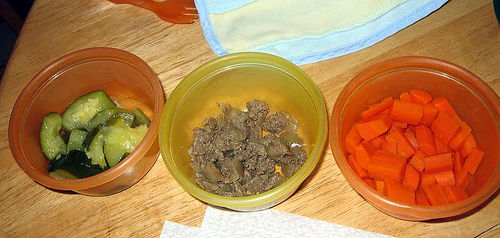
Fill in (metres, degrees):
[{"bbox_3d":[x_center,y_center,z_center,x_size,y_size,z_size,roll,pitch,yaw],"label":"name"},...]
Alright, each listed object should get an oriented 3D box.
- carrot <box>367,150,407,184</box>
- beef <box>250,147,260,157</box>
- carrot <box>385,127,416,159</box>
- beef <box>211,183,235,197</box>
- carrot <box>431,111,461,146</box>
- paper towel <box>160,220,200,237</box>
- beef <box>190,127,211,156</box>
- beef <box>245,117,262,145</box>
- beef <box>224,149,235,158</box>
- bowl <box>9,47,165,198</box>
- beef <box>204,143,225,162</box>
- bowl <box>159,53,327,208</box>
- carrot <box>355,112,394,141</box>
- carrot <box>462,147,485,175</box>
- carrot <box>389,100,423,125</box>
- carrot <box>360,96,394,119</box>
[{"bbox_3d":[0.619,0.214,1.668,0.161,0.044,0.136,13,81,4],"label":"carrot"},{"bbox_3d":[0.021,0.155,1.724,0.035,0.012,0.043,27,83,29],"label":"beef"},{"bbox_3d":[0.688,0.111,1.704,0.143,0.042,0.130,-27,85,16],"label":"carrot"},{"bbox_3d":[-0.125,0.326,1.700,0.108,0.023,0.056,-1,81,1],"label":"beef"},{"bbox_3d":[0.894,0.041,1.694,0.150,0.076,0.142,45,120,13],"label":"carrot"},{"bbox_3d":[-0.328,0.523,1.704,0.168,0.007,0.073,11,81,3],"label":"paper towel"},{"bbox_3d":[-0.234,0.102,1.767,0.093,0.120,0.111,-10,116,-11],"label":"beef"},{"bbox_3d":[0.010,0.058,1.788,0.125,0.036,0.109,22,68,1],"label":"beef"},{"bbox_3d":[-0.099,0.164,1.744,0.043,0.016,0.031,15,103,9],"label":"beef"},{"bbox_3d":[-0.769,-0.001,1.784,0.736,0.198,0.712,0,80,1],"label":"bowl"},{"bbox_3d":[-0.168,0.163,1.720,0.088,0.024,0.082,29,82,6],"label":"beef"},{"bbox_3d":[-0.028,0.042,1.697,0.744,0.227,0.699,0,81,1],"label":"bowl"},{"bbox_3d":[0.569,0.036,1.765,0.149,0.202,0.114,2,113,27],"label":"carrot"},{"bbox_3d":[1.017,0.185,1.655,0.061,0.034,0.125,26,82,6],"label":"carrot"},{"bbox_3d":[0.760,-0.054,1.790,0.162,0.205,0.089,4,100,15],"label":"carrot"},{"bbox_3d":[0.592,-0.069,1.742,0.131,0.264,0.082,12,110,41],"label":"carrot"}]
